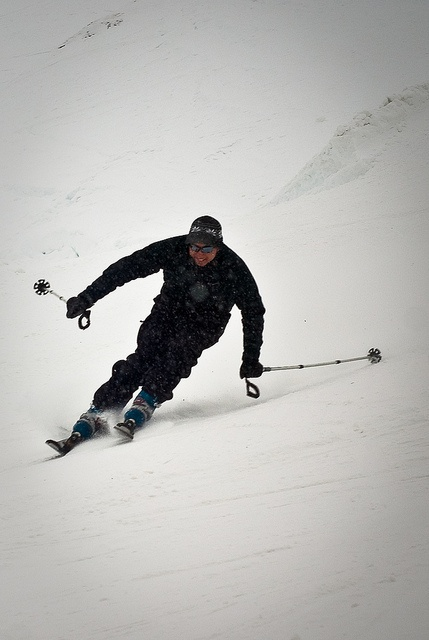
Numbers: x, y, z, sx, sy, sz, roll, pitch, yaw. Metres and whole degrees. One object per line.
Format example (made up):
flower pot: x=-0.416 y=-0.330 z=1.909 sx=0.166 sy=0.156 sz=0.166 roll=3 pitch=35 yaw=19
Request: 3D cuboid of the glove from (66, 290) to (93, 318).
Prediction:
glove: x=-0.550 y=-0.052 z=3.106 sx=0.100 sy=0.110 sz=0.110 roll=8 pitch=-24 yaw=-8

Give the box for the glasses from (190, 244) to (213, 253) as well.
glasses: x=-0.053 y=-0.290 z=3.095 sx=0.088 sy=0.029 sz=0.033 roll=5 pitch=-23 yaw=-1

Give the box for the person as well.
person: x=-0.213 y=0.035 z=3.345 sx=0.787 sy=0.963 sz=0.267 roll=40 pitch=-3 yaw=0

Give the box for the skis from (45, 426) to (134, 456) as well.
skis: x=-0.499 y=0.494 z=3.162 sx=0.339 sy=0.140 sz=0.220 roll=4 pitch=-23 yaw=1

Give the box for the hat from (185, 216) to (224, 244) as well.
hat: x=-0.037 y=-0.363 z=3.071 sx=0.102 sy=0.080 sz=0.139 roll=13 pitch=15 yaw=18
